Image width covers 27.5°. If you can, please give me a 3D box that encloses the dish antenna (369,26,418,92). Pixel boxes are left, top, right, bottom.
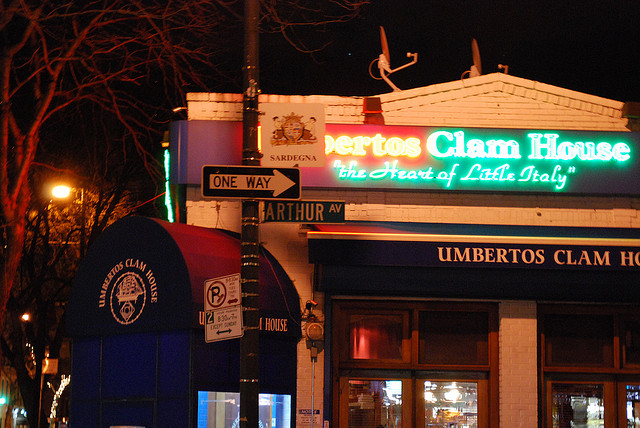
[{"bbox_3d":[2.076,-4.439,37.360,1.422,1.922,1.302,-2,-4,18],"label":"dish antenna"}]
